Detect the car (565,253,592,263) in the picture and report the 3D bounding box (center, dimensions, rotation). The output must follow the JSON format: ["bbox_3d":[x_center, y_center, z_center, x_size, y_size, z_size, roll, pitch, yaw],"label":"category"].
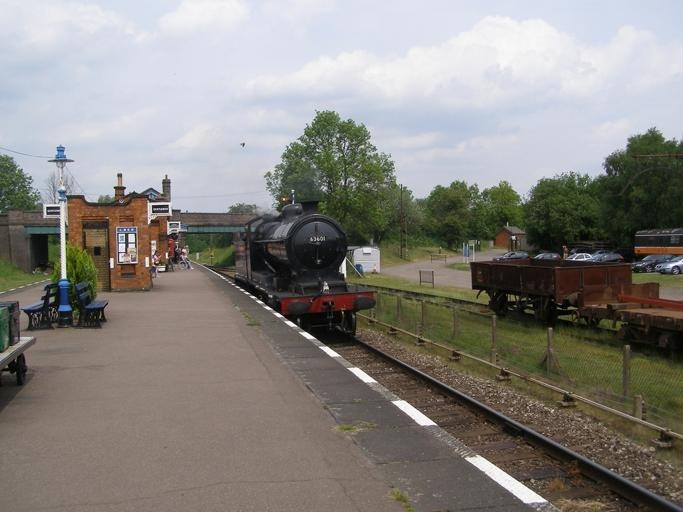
[{"bbox_3d":[17.129,0.129,43.747,1.961,0.930,1.251,2,-3,-5],"label":"car"}]

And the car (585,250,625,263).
[{"bbox_3d":[20.807,0.074,47.596,2.665,0.981,1.587,2,-1,-15],"label":"car"}]
